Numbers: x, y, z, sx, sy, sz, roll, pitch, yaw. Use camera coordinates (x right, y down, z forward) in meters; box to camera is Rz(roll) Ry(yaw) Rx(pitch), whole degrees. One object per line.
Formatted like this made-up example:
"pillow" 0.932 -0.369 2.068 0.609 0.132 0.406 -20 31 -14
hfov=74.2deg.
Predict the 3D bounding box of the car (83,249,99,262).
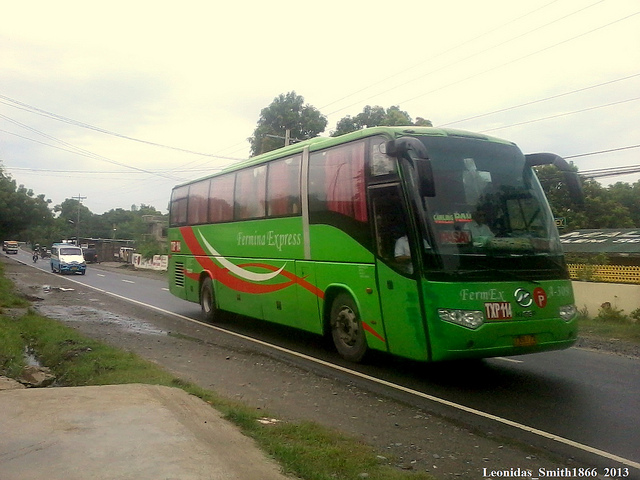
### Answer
"car" -28.314 1.876 52.356 1.699 1.248 1.221 1 -2 -26

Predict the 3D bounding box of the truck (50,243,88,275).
"truck" -20.931 1.553 35.161 2.104 2.054 3.995 1 -1 -35

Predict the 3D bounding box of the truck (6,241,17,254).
"truck" -63.452 1.465 87.038 2.697 2.448 4.688 1 -8 -37
